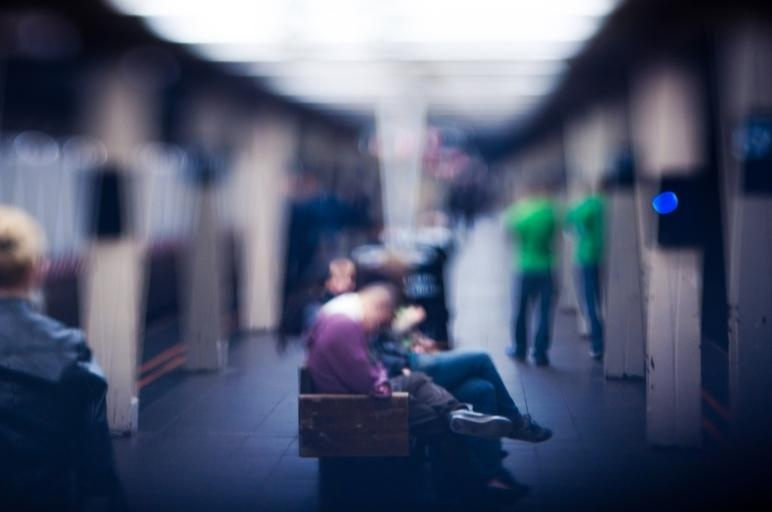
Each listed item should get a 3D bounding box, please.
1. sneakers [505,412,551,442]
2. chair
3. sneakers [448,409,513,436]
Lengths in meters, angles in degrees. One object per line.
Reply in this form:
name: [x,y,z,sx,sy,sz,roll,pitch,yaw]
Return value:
sneakers: [0.767,0.870,3.360,0.283,0.119,0.104,4,17,-10]
chair: [-0.160,0.795,3.075,0.770,0.394,0.516,1,1,1]
sneakers: [0.432,0.787,3.073,0.320,0.116,0.136,5,11,1]
